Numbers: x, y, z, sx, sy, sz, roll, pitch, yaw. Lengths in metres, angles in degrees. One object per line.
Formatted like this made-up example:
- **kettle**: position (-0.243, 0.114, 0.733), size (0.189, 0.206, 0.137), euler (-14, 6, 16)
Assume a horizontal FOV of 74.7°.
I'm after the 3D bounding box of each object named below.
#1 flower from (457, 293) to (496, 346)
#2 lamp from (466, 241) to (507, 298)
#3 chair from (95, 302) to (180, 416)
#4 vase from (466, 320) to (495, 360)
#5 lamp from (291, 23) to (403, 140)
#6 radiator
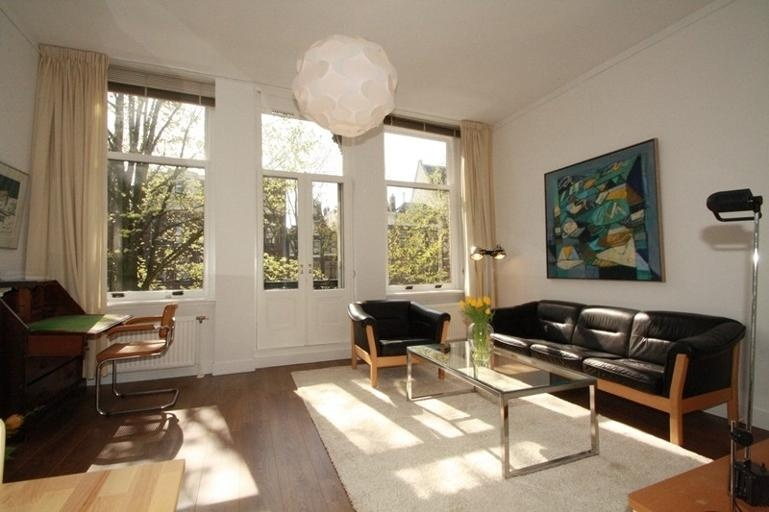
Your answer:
- **flower**: position (1.062, 0.751, 5.832), size (0.538, 0.760, 0.490), euler (0, -4, 6)
- **lamp**: position (1.550, 0.253, 7.518), size (0.529, 0.753, 0.945), euler (-1, 0, 12)
- **chair**: position (-2.752, 1.201, 6.051), size (1.121, 1.583, 1.236), euler (2, -4, -24)
- **vase**: position (1.069, 0.941, 5.478), size (0.343, 0.538, 0.329), euler (7, -9, -44)
- **lamp**: position (-0.367, -1.650, 4.798), size (0.981, 0.899, 0.388), euler (-1, 0, -9)
- **radiator**: position (-2.745, 1.114, 5.656), size (0.798, 1.100, 0.892), euler (-2, -1, -21)
